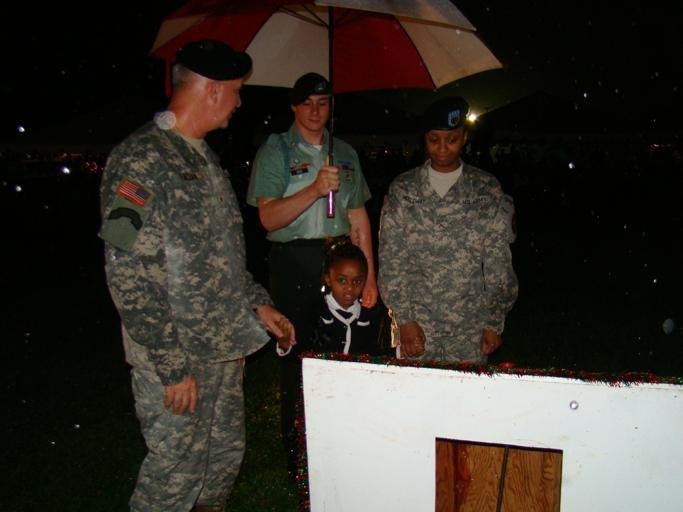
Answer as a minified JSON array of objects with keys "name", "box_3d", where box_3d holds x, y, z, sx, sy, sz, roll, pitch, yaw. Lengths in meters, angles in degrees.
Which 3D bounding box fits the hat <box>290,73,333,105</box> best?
[{"name":"hat","box_3d":[-0.239,-1.241,4.335,0.259,0.149,0.212,-2,8,5]}]

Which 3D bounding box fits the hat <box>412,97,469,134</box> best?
[{"name":"hat","box_3d":[0.776,-1.052,4.352,0.349,0.249,0.190,2,14,9]}]

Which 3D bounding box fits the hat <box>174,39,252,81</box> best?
[{"name":"hat","box_3d":[-0.799,-1.236,3.717,0.380,0.129,0.285,-4,44,-21]}]
